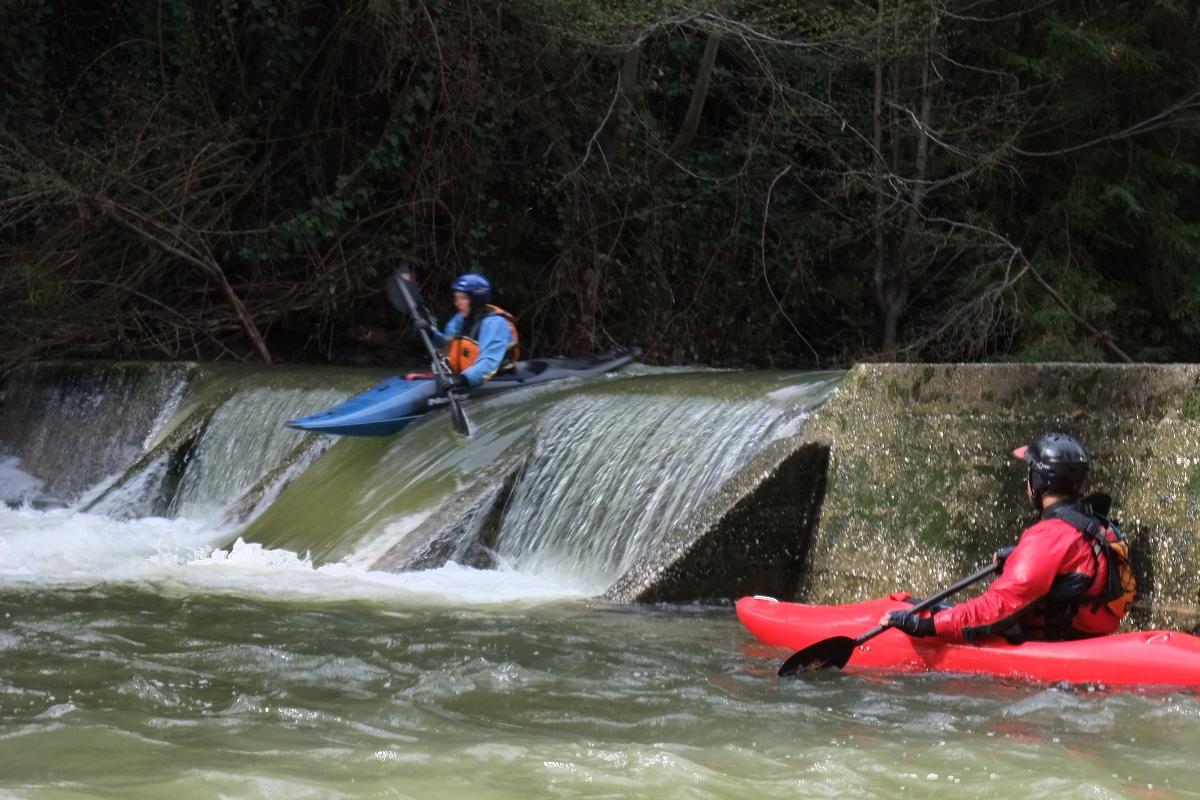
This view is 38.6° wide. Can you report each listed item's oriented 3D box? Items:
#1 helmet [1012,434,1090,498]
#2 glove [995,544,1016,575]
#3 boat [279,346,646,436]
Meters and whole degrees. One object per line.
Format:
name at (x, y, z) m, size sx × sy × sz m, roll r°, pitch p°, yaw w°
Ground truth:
helmet at (4.003, 0.605, 15.096) m, size 0.519 × 0.519 × 0.563 m, roll 3°, pitch 17°, yaw -18°
glove at (3.589, 1.437, 15.221) m, size 0.088 × 0.231 × 0.179 m, roll 23°, pitch -19°, yaw 16°
boat at (-1.452, -0.060, 19.519) m, size 2.748 × 0.436 × 0.599 m, roll -17°, pitch 12°, yaw -16°
